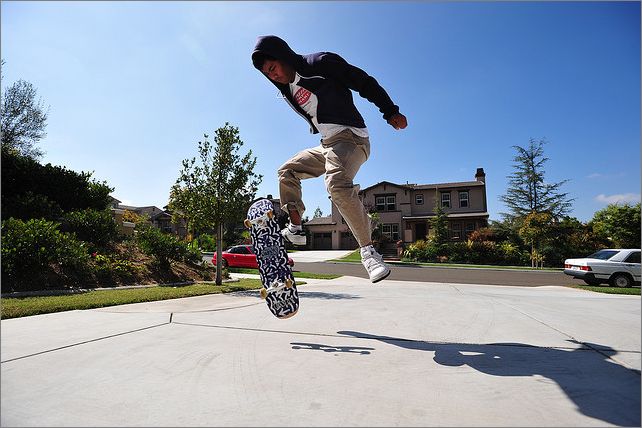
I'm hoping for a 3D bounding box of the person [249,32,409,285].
[{"bbox_3d":[0.081,-0.588,3.669,1.371,2.611,1.169,-2,-6,36],"label":"person"}]

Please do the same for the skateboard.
[{"bbox_3d":[-0.548,0.306,3.714,0.389,1.557,0.220,-19,-11,3],"label":"skateboard"}]
